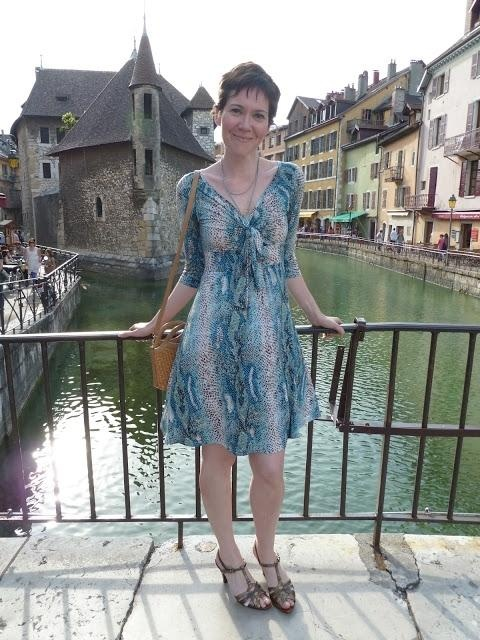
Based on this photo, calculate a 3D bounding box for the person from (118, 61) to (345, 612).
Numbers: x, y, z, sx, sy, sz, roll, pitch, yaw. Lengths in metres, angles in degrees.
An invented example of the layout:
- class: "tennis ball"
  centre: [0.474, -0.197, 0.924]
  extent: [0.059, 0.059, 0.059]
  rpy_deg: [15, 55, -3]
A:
- class: "person"
  centre: [0.023, 0.094, 1.541]
  extent: [0.564, 1.784, 0.346]
  rpy_deg: [1, 6, -10]

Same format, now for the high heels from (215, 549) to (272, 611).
- class: "high heels"
  centre: [0.006, 0.925, 1.658]
  extent: [0.085, 0.117, 0.235]
  rpy_deg: [-16, 1, -29]

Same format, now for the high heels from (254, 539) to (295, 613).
- class: "high heels"
  centre: [0.117, 0.904, 1.630]
  extent: [0.060, 0.061, 0.228]
  rpy_deg: [-9, 22, -14]
